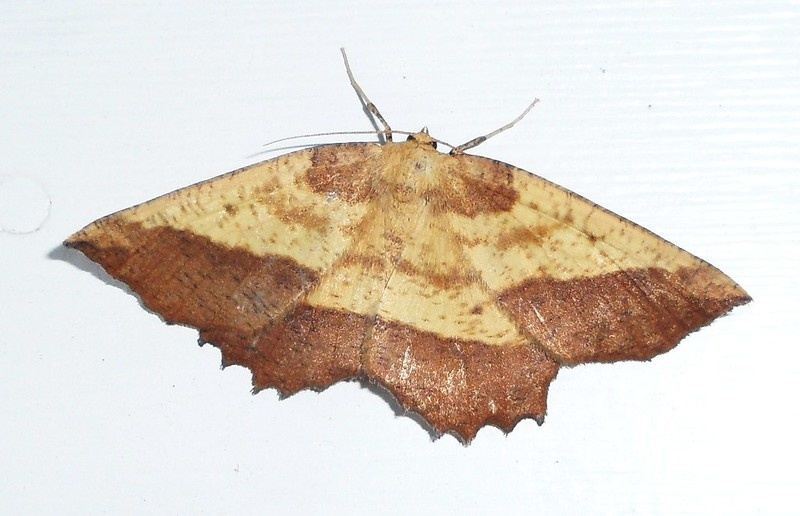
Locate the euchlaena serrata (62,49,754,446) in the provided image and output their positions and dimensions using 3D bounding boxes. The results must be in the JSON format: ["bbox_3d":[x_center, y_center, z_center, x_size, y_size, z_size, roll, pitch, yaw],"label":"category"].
[{"bbox_3d":[0.154,-0.183,8.391,4.444,2.494,0.579,4,-4,2],"label":"euchlaena serrata"}]
